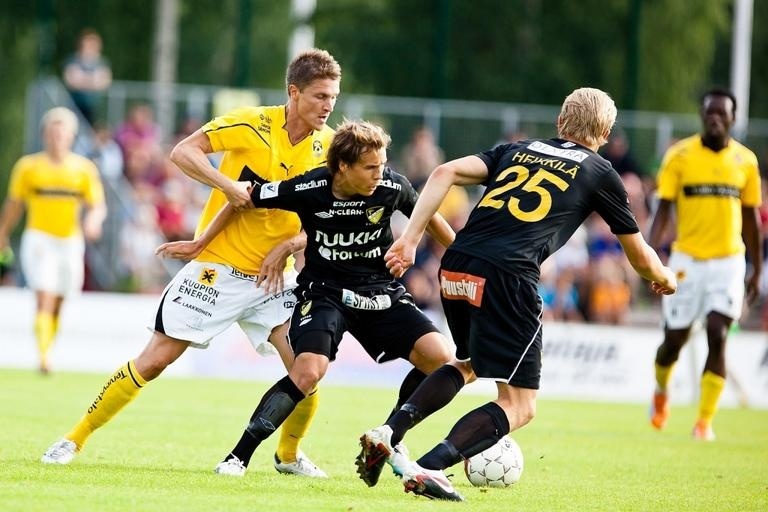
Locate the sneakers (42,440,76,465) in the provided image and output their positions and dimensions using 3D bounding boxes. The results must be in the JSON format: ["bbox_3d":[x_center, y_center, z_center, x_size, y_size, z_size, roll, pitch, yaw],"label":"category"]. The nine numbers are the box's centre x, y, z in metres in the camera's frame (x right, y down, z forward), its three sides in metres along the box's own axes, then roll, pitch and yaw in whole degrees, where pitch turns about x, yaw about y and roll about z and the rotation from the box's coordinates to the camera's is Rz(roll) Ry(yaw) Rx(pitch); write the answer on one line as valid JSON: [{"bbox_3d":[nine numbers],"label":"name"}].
[{"bbox_3d":[-2.931,1.776,8.896,0.264,0.202,0.100,-29,-24,-6],"label":"sneakers"}]

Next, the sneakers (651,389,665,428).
[{"bbox_3d":[3.181,1.781,11.429,0.144,0.398,0.207,10,6,12],"label":"sneakers"}]

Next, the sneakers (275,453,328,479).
[{"bbox_3d":[-0.776,1.946,9.117,0.500,0.231,0.203,11,10,-11],"label":"sneakers"}]

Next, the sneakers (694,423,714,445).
[{"bbox_3d":[3.676,2.024,11.301,0.236,0.247,0.245,8,6,16],"label":"sneakers"}]

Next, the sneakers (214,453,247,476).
[{"bbox_3d":[-1.380,1.856,8.749,0.273,0.191,0.144,8,6,12],"label":"sneakers"}]
